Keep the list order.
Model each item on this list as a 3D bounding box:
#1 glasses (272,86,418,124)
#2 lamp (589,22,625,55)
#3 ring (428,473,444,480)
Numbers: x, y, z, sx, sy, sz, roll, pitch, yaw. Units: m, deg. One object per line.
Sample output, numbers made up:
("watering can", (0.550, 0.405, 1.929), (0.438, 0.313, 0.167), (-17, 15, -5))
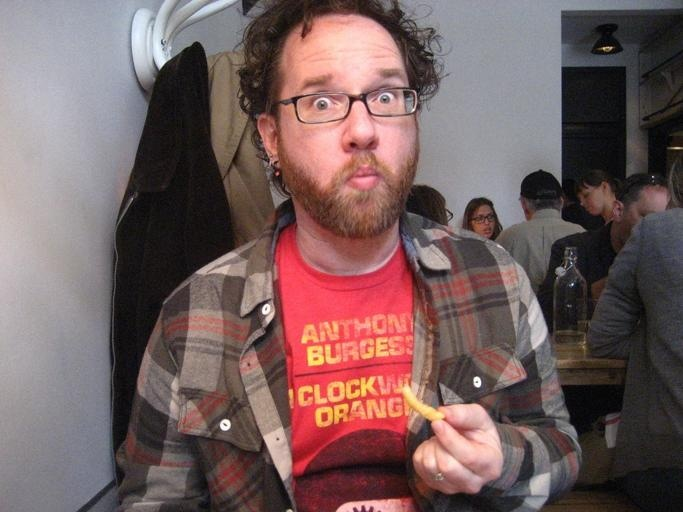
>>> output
("glasses", (0.016, -0.363, 1.487), (0.338, 0.087, 0.105), (-2, 6, -3))
("lamp", (2.359, -1.918, 5.416), (0.310, 0.298, 0.335), (-1, -12, 20))
("ring", (0.197, 0.458, 1.267), (0.020, 0.016, 0.030), (8, -26, -2))
